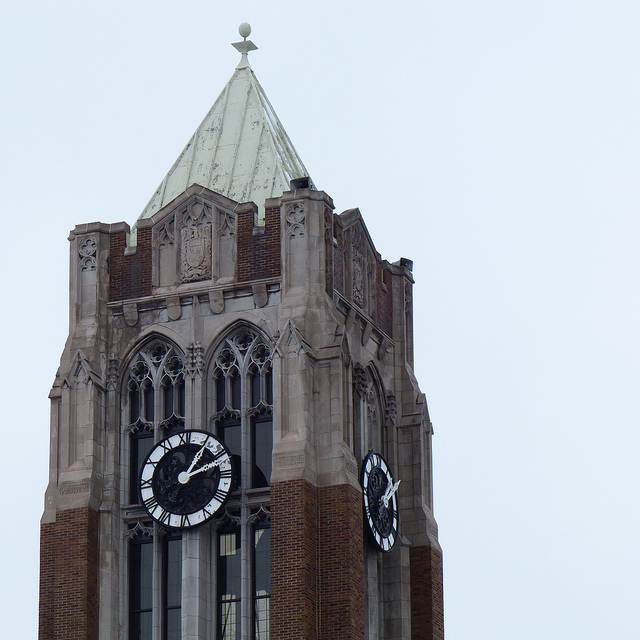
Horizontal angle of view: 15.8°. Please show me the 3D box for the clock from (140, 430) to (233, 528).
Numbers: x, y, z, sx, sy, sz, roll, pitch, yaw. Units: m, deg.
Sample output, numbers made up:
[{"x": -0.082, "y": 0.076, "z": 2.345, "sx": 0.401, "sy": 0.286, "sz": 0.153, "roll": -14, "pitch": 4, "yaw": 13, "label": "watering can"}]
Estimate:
[{"x": -3.732, "y": 4.619, "z": 64.720, "sx": 1.852, "sy": 2.408, "sz": 0.257, "roll": 7, "pitch": -14, "yaw": 16, "label": "clock"}]

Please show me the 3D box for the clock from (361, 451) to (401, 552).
[{"x": 1.639, "y": 5.386, "z": 66.239, "sx": 0.150, "sy": 2.057, "sz": 1.973, "roll": -9, "pitch": -42, "yaw": 19, "label": "clock"}]

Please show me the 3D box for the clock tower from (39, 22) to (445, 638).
[{"x": -2.272, "y": 0.782, "z": 68.191, "sx": 10.834, "sy": 20.467, "sz": 8.105, "roll": 8, "pitch": -45, "yaw": -7, "label": "clock tower"}]
